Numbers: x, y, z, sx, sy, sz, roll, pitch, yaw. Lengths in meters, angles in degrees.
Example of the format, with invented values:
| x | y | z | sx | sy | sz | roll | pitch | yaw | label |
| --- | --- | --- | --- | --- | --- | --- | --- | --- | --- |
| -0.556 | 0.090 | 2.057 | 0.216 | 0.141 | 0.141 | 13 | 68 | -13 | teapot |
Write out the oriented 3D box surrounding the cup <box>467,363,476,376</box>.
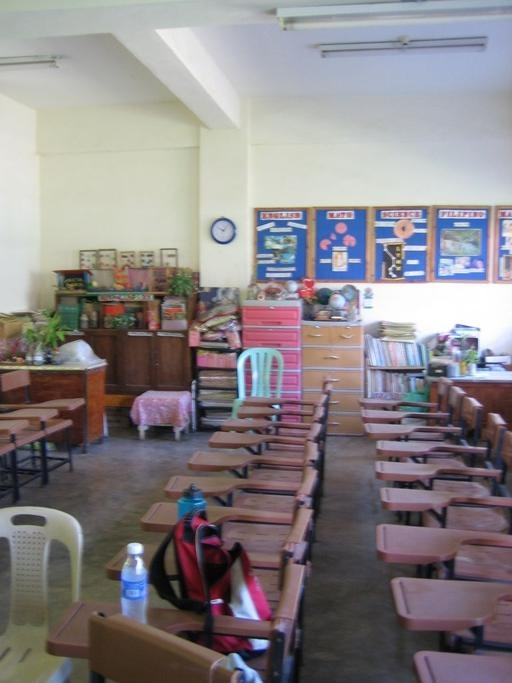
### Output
| x | y | z | sx | sy | sz | roll | pitch | yaw | label |
| --- | --- | --- | --- | --- | --- | --- | --- | --- | --- |
| 2.049 | 0.270 | 5.563 | 0.108 | 0.102 | 0.104 | 0 | -1 | 0 | cup |

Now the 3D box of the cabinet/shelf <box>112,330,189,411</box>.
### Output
| x | y | z | sx | sy | sz | roll | pitch | yaw | label |
| --- | --- | --- | --- | --- | --- | --- | --- | --- | --- |
| -1.158 | 0.319 | 6.576 | 1.104 | 0.796 | 0.388 | 0 | 0 | 11 | cabinet/shelf |

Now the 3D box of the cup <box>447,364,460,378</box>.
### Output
| x | y | z | sx | sy | sz | roll | pitch | yaw | label |
| --- | --- | --- | --- | --- | --- | --- | --- | --- | --- |
| 1.897 | 0.278 | 5.561 | 0.132 | 0.128 | 0.133 | -2 | 6 | 0 | cup |

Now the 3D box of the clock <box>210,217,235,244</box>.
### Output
| x | y | z | sx | sy | sz | roll | pitch | yaw | label |
| --- | --- | --- | --- | --- | --- | --- | --- | --- | --- |
| -0.375 | -1.275 | 6.735 | 0.306 | 0.312 | 0.047 | 1 | 4 | 13 | clock |

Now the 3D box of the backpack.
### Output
| x | y | z | sx | sy | sz | roll | pitch | yaw | label |
| --- | --- | --- | --- | --- | --- | --- | --- | --- | --- |
| -0.098 | 0.601 | 1.448 | 0.272 | 0.312 | 0.269 | -8 | -17 | 10 | backpack |

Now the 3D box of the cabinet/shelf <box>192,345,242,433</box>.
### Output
| x | y | z | sx | sy | sz | roll | pitch | yaw | label |
| --- | --- | --- | --- | --- | --- | --- | --- | --- | --- |
| -0.433 | 0.492 | 6.428 | 0.543 | 0.763 | 0.441 | -1 | 9 | -5 | cabinet/shelf |

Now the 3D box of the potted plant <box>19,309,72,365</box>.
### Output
| x | y | z | sx | sy | sz | roll | pitch | yaw | label |
| --- | --- | --- | --- | --- | --- | --- | --- | --- | --- |
| -1.988 | 0.050 | 5.706 | 0.294 | 0.331 | 0.232 | 3 | -16 | 25 | potted plant |

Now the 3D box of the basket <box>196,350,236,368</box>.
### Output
| x | y | z | sx | sy | sz | roll | pitch | yaw | label |
| --- | --- | --- | --- | --- | --- | --- | --- | --- | --- |
| -0.449 | 0.212 | 6.465 | 0.491 | 0.208 | 0.105 | 1 | 4 | 13 | basket |

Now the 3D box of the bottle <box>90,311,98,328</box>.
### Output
| x | y | z | sx | sy | sz | roll | pitch | yaw | label |
| --- | --- | --- | --- | --- | --- | --- | --- | --- | --- |
| -1.921 | -0.256 | 6.874 | 0.090 | 0.188 | 0.073 | 0 | 4 | -8 | bottle |

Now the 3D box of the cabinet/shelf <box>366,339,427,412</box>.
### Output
| x | y | z | sx | sy | sz | roll | pitch | yaw | label |
| --- | --- | --- | --- | --- | --- | --- | --- | --- | --- |
| 1.569 | 0.440 | 6.624 | 0.694 | 0.747 | 0.546 | -1 | -26 | 10 | cabinet/shelf |
